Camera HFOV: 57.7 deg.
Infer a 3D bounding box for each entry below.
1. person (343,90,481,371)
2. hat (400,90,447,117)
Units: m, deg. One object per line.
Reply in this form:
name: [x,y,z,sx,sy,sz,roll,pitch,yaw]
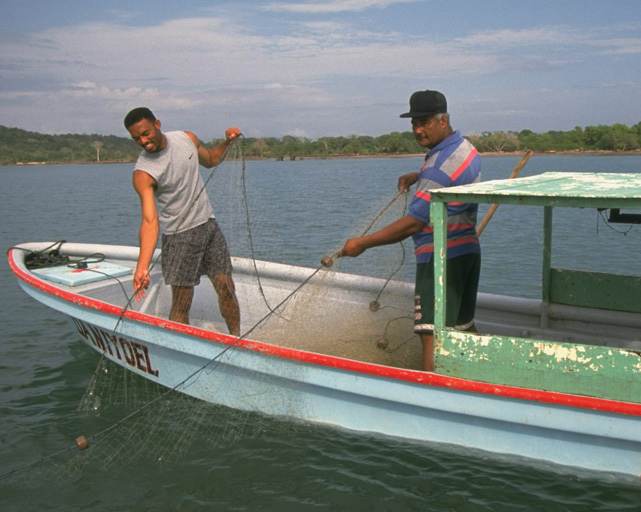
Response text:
person: [0.790,-0.154,4.230,0.883,2.024,0.625,-10,17,-40]
hat: [0.730,-1.049,4.014,0.287,0.185,0.242,1,11,5]
